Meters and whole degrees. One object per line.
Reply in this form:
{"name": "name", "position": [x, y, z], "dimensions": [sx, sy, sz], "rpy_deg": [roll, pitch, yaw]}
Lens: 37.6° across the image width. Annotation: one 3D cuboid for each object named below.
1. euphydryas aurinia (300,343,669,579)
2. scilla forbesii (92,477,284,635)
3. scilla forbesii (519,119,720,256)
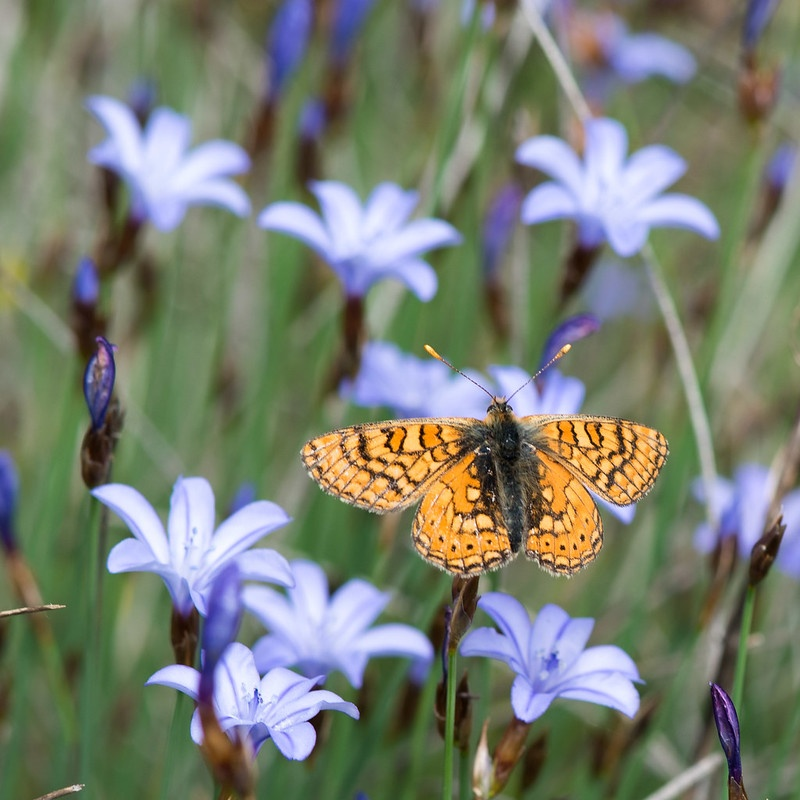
{"name": "euphydryas aurinia", "position": [0.184, 0.090, 1.956], "dimensions": [0.572, 0.140, 0.529], "rpy_deg": [1, 24, -7]}
{"name": "scilla forbesii", "position": [-0.289, 0.184, 1.605], "dimensions": [0.252, 0.189, 0.229], "rpy_deg": [9, 63, 19]}
{"name": "scilla forbesii", "position": [0.360, -0.349, 2.011], "dimensions": [0.234, 0.099, 0.294], "rpy_deg": [26, 45, 5]}
